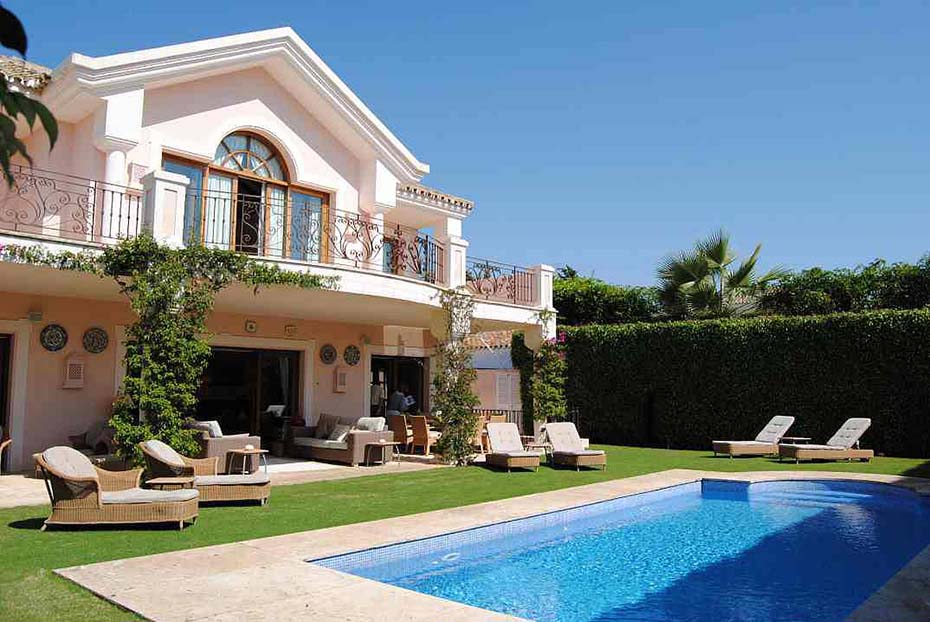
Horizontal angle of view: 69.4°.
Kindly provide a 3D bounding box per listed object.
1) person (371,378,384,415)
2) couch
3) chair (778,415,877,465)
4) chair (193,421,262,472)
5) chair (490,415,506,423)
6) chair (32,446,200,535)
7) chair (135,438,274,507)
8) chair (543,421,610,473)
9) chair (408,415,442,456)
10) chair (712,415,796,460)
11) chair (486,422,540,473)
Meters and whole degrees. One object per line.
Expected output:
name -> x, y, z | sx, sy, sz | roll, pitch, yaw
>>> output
person -> -2.830, 2.781, 21.524 | 0.164, 1.158, 0.640 | -5, -11, 42
couch -> -3.298, 3.473, 18.147 | 2.675, 1.276, 1.116 | -6, -11, 39
chair -> 9.869, 3.594, 18.545 | 2.355, 1.244, 1.382 | 2, -10, -4
chair -> -5.617, 3.248, 15.941 | 1.332, 1.107, 1.296 | 1, -10, -25
chair -> 1.007, 3.243, 20.074 | 0.283, 0.308, 0.265 | -1, -9, 7
chair -> -5.582, 2.999, 10.998 | 2.148, 1.068, 1.592 | 0, -10, -3
chair -> -4.907, 3.093, 12.944 | 2.358, 1.102, 1.647 | 1, -9, -6
chair -> 2.914, 3.586, 17.749 | 1.056, 1.009, 1.584 | 4, -6, -24
chair -> -1.062, 3.610, 19.396 | 0.965, 1.021, 0.948 | -2, -6, 26
chair -> 8.442, 3.694, 19.667 | 1.969, 1.004, 1.112 | 1, -3, -7
chair -> 1.222, 3.485, 17.263 | 1.005, 0.825, 1.309 | 3, 0, -28
